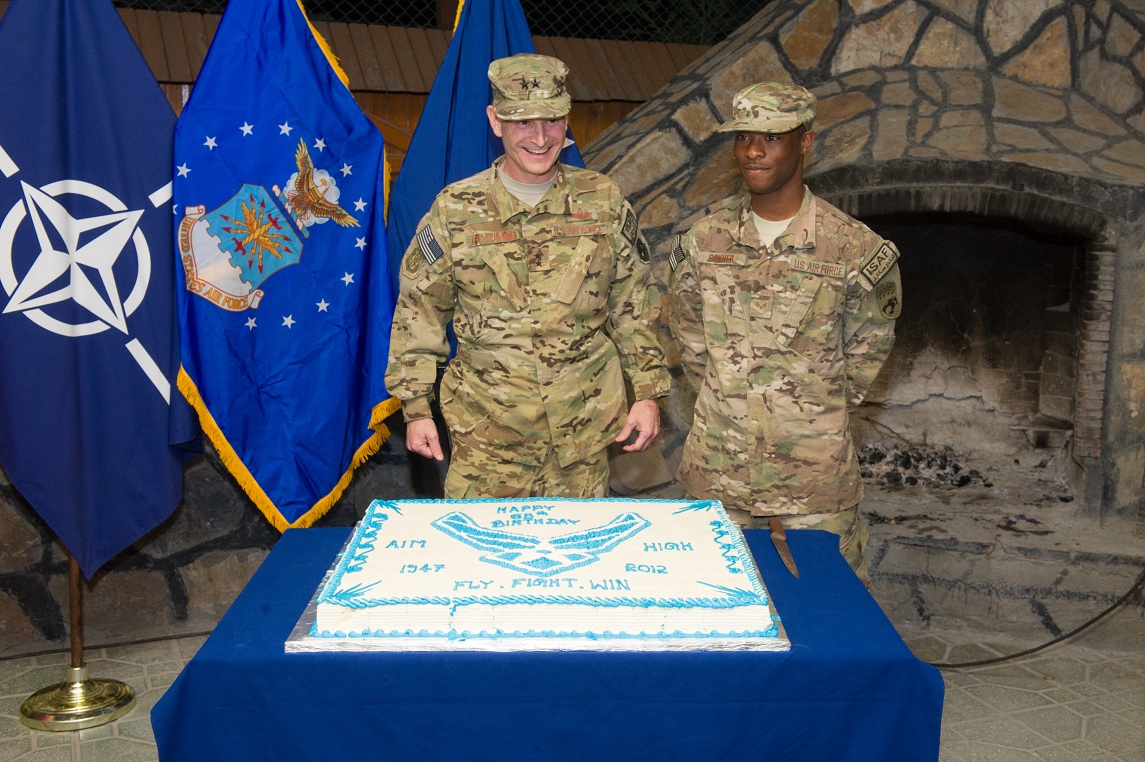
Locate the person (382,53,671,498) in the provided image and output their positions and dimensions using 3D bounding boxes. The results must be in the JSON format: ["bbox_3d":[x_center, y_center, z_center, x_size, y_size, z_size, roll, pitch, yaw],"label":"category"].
[{"bbox_3d":[-0.150,-0.400,4.712,1.161,1.841,0.366,4,7,-13],"label":"person"}]

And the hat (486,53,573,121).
[{"bbox_3d":[-0.181,-1.174,4.527,0.316,0.138,0.398,-4,41,-5],"label":"hat"}]
